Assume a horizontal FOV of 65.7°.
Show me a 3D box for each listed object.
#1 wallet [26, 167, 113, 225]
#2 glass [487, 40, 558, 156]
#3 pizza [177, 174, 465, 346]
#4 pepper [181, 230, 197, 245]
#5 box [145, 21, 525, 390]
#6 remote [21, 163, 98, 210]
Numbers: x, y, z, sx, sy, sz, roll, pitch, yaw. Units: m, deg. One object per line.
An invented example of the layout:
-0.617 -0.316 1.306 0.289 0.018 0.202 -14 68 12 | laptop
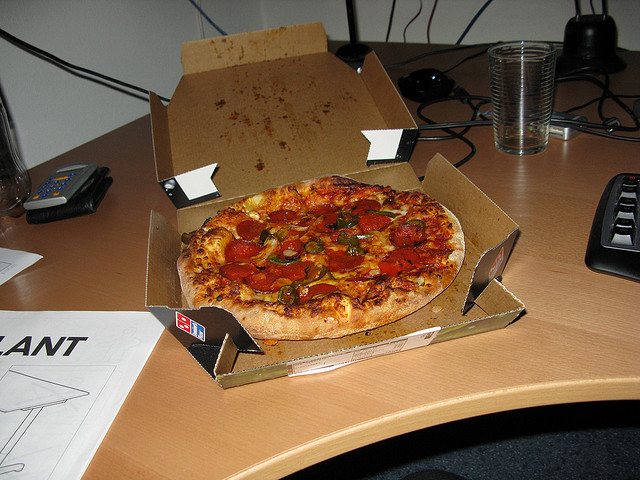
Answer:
-0.708 -0.144 1.608 0.360 0.147 0.269 -2 28 -8 | wallet
0.576 -0.400 1.481 0.202 0.325 0.252 -9 35 2 | glass
0.025 0.022 1.410 0.981 0.327 0.663 -3 23 -2 | pizza
-0.340 -0.007 1.267 0.038 0.018 0.032 -4 18 -8 | pepper
-0.046 -0.046 1.395 1.025 0.287 0.993 -14 45 -12 | box
-0.807 -0.188 1.548 0.136 0.033 0.211 -3 31 10 | remote
